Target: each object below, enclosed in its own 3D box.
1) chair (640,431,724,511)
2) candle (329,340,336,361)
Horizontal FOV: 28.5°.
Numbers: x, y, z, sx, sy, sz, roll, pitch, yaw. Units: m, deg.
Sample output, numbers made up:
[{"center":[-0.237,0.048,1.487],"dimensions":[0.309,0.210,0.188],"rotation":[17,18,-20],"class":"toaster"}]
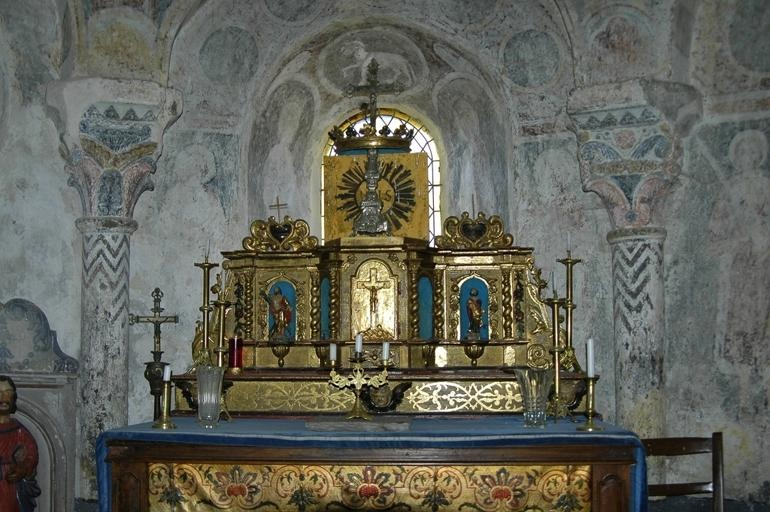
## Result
[{"center":[3.210,2.323,16.511],"dimensions":[0.806,1.398,0.731],"rotation":[-4,-23,15],"class":"chair"},{"center":[-0.555,1.002,16.180],"dimensions":[0.049,0.195,0.173],"rotation":[-1,-12,9],"class":"candle"}]
